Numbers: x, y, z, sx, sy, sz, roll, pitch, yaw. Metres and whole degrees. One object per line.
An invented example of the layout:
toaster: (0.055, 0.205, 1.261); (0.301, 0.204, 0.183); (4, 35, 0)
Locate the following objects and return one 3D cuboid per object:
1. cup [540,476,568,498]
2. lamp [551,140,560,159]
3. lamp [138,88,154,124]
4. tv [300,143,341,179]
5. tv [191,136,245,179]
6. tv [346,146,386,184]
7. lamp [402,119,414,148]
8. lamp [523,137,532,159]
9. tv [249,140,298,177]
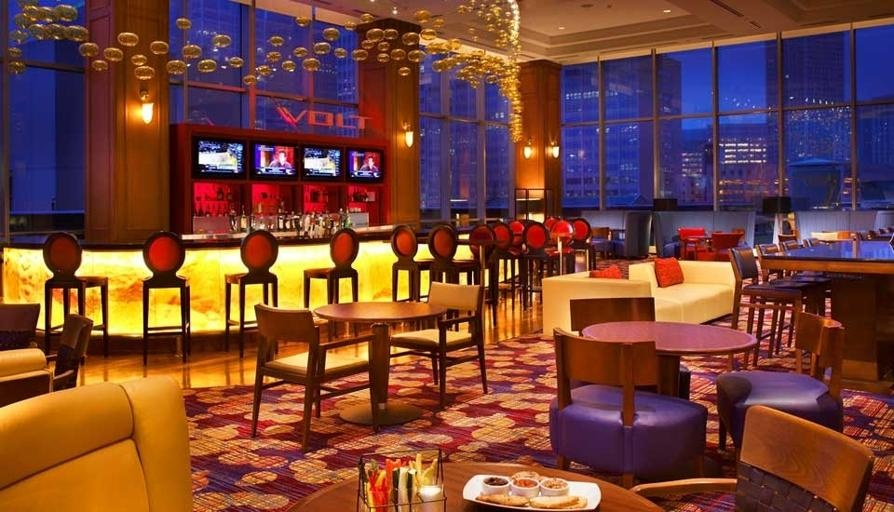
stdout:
cup: (0.555, 1.204, 3.388); (0.095, 0.059, 0.092); (-1, 0, 0)
lamp: (3.084, -3.014, 18.611); (0.307, 0.447, 0.169); (-5, 10, -30)
lamp: (-4.615, -2.306, 10.028); (0.202, 0.524, 0.094); (-6, 13, -23)
tv: (-2.636, -1.805, 12.714); (0.570, 0.718, 1.107); (10, 12, 35)
tv: (-3.800, -1.700, 11.446); (1.123, 0.699, 0.643); (4, 4, 10)
tv: (-1.673, -1.846, 13.394); (0.221, 0.683, 0.970); (7, 13, 33)
lamp: (-0.830, -2.613, 14.114); (0.255, 0.540, 0.078); (-7, 13, -26)
lamp: (2.284, -3.090, 18.472); (0.444, 0.598, 0.145); (0, 4, 4)
tv: (-3.192, -1.733, 11.916); (0.111, 0.666, 1.032); (9, 11, 37)
